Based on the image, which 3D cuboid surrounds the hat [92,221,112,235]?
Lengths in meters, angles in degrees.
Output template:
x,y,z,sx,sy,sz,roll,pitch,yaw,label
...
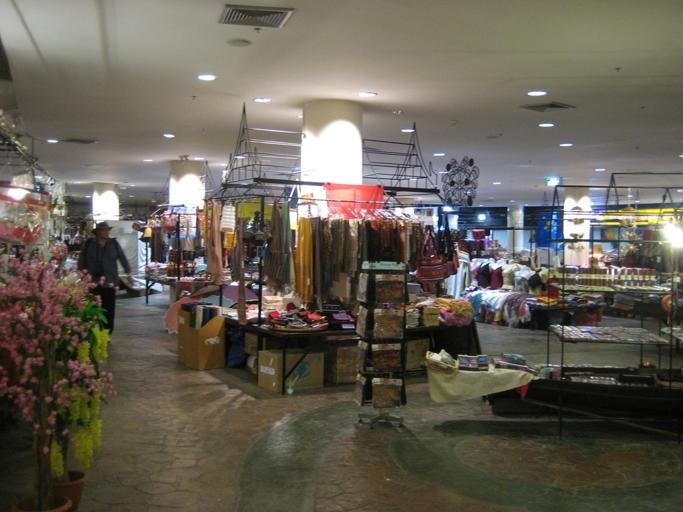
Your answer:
x,y,z,sx,sy,sz,roll,pitch,yaw,label
-3.842,-0.456,8.319,0.274,0.101,0.298,1,-5,-29,hat
